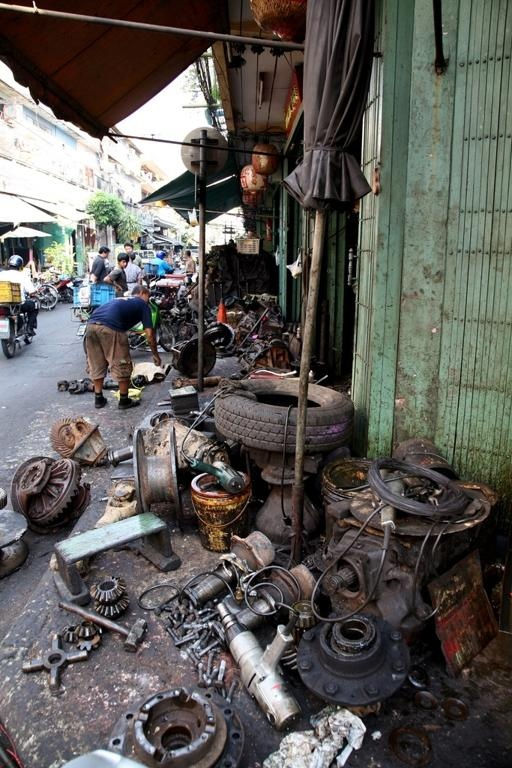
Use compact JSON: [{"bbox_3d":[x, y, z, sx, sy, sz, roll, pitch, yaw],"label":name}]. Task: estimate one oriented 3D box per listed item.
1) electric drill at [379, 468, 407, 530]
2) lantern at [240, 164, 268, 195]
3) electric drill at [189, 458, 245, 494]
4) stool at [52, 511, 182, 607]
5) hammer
[{"bbox_3d":[0.654,0.573,2.503,0.060,0.063,0.418,-16,24,19],"label":"electric drill"},{"bbox_3d":[-0.038,-3.902,9.611,0.519,0.497,0.534,-4,18,-7],"label":"lantern"},{"bbox_3d":[-0.244,0.597,3.269,0.394,0.171,0.152,11,17,41],"label":"electric drill"},{"bbox_3d":[-0.819,1.019,2.972,0.668,0.335,0.373,-13,18,-33],"label":"stool"},{"bbox_3d":[-0.774,1.229,2.620,0.577,0.080,0.190,8,16,34],"label":"hammer"}]
